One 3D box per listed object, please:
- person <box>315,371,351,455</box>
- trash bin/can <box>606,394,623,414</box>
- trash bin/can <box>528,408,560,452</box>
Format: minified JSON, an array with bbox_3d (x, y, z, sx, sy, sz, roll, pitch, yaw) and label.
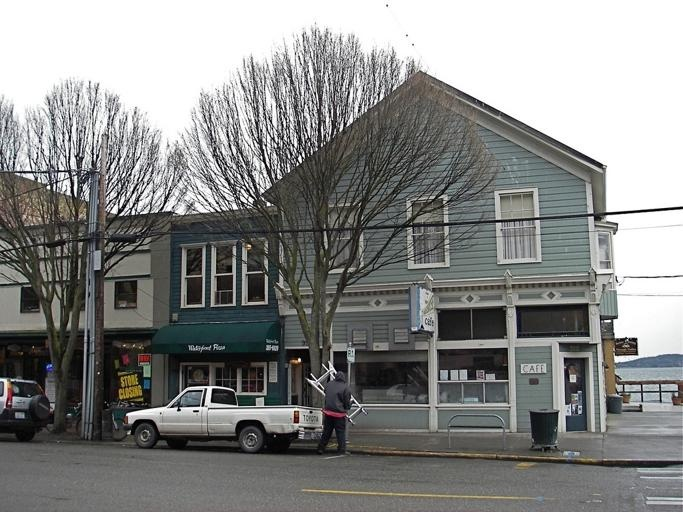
[{"bbox_3d":[-0.184,4.649,28.840,0.981,2.416,0.738,4,-10,-32],"label":"person"},{"bbox_3d":[12.470,6.658,43.811,0.651,0.742,0.797,7,-8,-28],"label":"trash bin/can"},{"bbox_3d":[6.025,5.172,28.785,1.164,1.541,1.027,-1,-15,4],"label":"trash bin/can"}]
